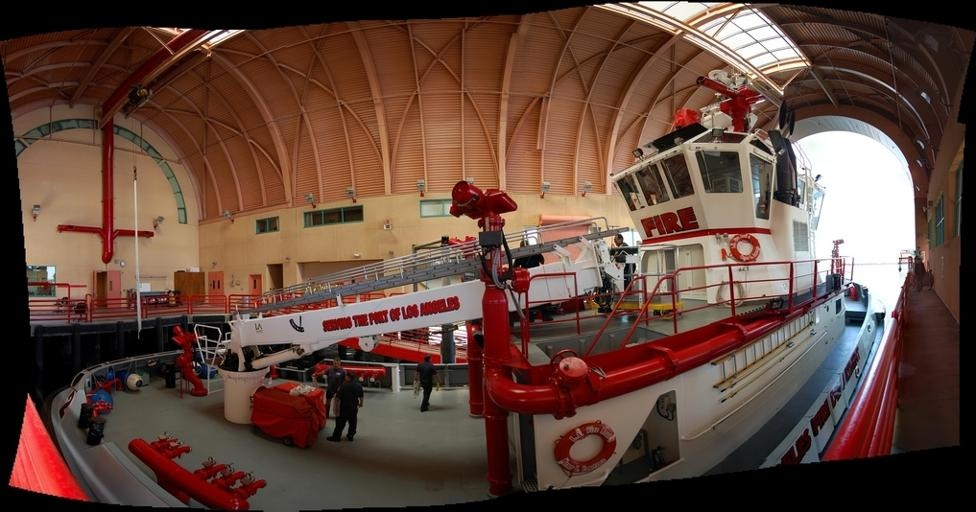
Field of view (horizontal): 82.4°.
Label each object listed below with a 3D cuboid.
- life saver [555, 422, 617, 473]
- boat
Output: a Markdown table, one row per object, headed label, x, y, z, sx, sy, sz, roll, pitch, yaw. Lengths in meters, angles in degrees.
| label | x | y | z | sx | sy | sz | roll | pitch | yaw |
| --- | --- | --- | --- | --- | --- | --- | --- | --- | --- |
| life saver | 2.632 | 5.188 | 15.185 | 1.740 | 1.477 | 0.262 | -3 | -4 | -8 |
| boat | 1.022 | 0.356 | 18.421 | 26.060 | 13.214 | 7.255 | -3 | -3 | 3 |
